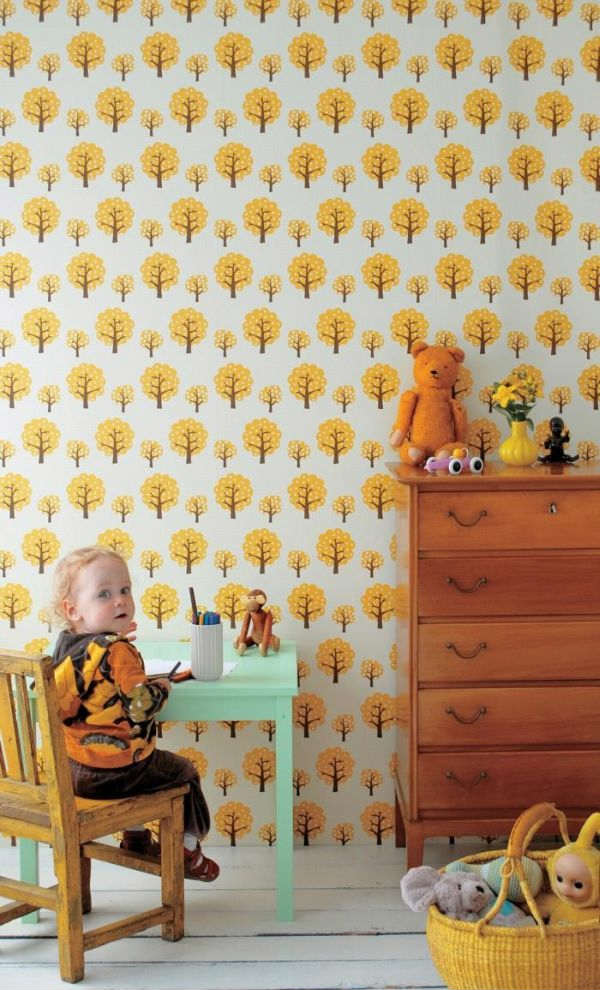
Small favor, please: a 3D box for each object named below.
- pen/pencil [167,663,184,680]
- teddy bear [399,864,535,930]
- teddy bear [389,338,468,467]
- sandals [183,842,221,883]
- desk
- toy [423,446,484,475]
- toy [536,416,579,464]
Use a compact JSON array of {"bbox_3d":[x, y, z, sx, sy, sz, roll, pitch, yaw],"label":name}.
[{"bbox_3d":[-0.307,0.441,2.505,0.010,0.057,0.008,37,-18,-2],"label":"pen/pencil"},{"bbox_3d":[0.332,0.801,2.041,0.215,0.069,0.133,3,-1,26],"label":"teddy bear"},{"bbox_3d":[0.364,-0.255,2.836,0.205,0.347,0.209,0,5,5],"label":"teddy bear"},{"bbox_3d":[-0.255,0.911,2.497,0.151,0.054,0.050,2,3,-26],"label":"sandals"},{"bbox_3d":[-0.371,0.713,2.747,0.803,0.629,0.657,-1,2,0],"label":"desk"},{"bbox_3d":[0.391,-0.085,2.567,0.120,0.049,0.081,1,1,20],"label":"toy"},{"bbox_3d":[0.734,-0.160,2.872,0.171,0.165,0.054,-1,-4,6],"label":"toy"}]
